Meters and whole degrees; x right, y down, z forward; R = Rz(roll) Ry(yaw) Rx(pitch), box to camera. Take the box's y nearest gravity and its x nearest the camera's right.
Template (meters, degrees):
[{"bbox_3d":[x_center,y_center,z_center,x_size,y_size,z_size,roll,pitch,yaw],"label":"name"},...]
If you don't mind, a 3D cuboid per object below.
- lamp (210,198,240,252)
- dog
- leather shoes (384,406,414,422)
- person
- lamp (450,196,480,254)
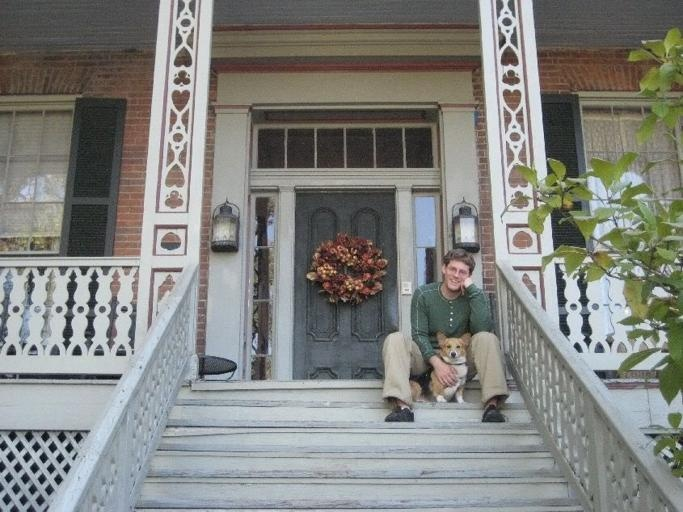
[{"bbox_3d":[-1.196,-0.296,6.992,0.274,0.529,0.148,0,-1,3],"label":"lamp"},{"bbox_3d":[0.759,0.905,5.239,0.375,0.538,0.721,7,-21,-21],"label":"dog"},{"bbox_3d":[0.394,1.099,4.774,0.098,0.070,0.169,-13,-21,40],"label":"leather shoes"},{"bbox_3d":[0.845,0.575,5.125,1.017,1.218,1.238,-2,-6,40],"label":"person"},{"bbox_3d":[1.269,-0.305,7.030,0.291,0.560,0.210,0,-1,2],"label":"lamp"}]
